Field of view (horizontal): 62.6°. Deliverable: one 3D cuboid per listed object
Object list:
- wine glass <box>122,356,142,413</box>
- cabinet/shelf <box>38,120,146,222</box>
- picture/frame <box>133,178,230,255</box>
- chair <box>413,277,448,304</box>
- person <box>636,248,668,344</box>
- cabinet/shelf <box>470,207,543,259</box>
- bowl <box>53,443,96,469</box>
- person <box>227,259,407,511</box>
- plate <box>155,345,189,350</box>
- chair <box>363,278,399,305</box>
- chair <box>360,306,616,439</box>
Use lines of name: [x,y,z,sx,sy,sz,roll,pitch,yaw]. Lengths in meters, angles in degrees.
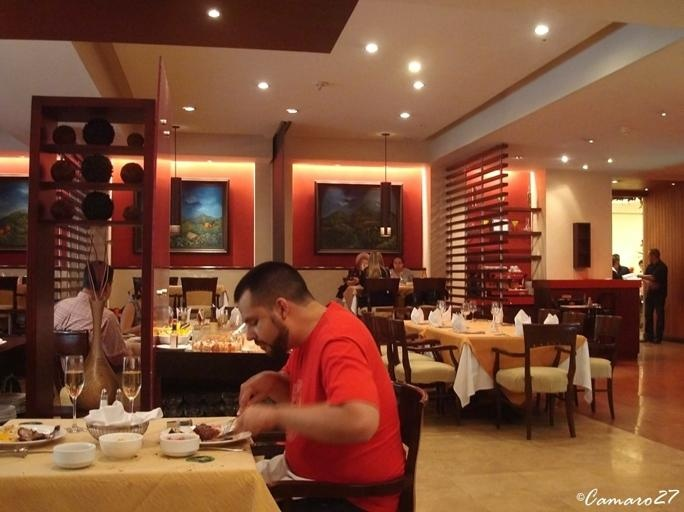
wine glass: [-1.004,0.615,2.682,0.078,0.272,0.229,0,2,-23]
cabinet/shelf: [-1.911,-0.660,4.383,0.715,0.800,0.611,0,2,-18]
picture/frame: [-2.401,-0.568,8.538,1.421,1.367,0.156,0,-6,-5]
chair: [1.395,0.563,8.909,0.432,0.354,0.387,-4,-6,40]
person: [6.710,0.850,12.074,0.491,1.988,1.190,2,2,29]
cabinet/shelf: [3.119,-0.440,10.795,1.176,1.012,2.249,2,2,29]
bowl: [-1.023,0.756,2.136,0.110,0.052,0.104,2,-2,0]
person: [-0.112,0.528,2.313,0.713,0.995,0.579,1,2,16]
plate: [-1.299,0.705,4.324,0.241,0.021,0.161,0,2,-26]
chair: [0.558,0.516,8.372,0.378,0.585,0.406,1,4,-4]
chair: [1.474,1.085,5.985,1.118,0.782,2.026,1,-5,-14]
